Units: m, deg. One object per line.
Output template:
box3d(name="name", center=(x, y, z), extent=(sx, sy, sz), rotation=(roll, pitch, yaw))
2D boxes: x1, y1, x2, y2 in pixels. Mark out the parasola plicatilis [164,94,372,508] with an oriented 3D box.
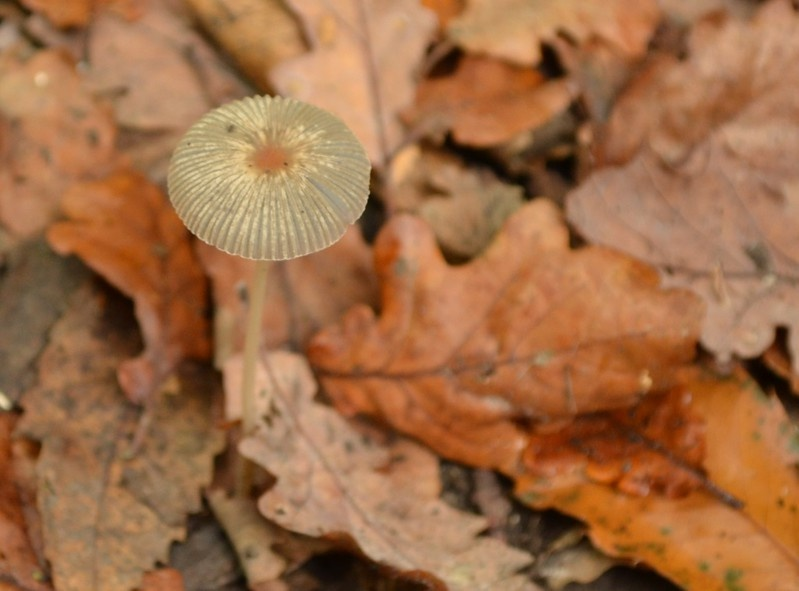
box3d(name="parasola plicatilis", center=(-0.240, -0.028, 2.475), extent=(0.293, 0.673, 0.321), rotation=(-6, 65, -13))
